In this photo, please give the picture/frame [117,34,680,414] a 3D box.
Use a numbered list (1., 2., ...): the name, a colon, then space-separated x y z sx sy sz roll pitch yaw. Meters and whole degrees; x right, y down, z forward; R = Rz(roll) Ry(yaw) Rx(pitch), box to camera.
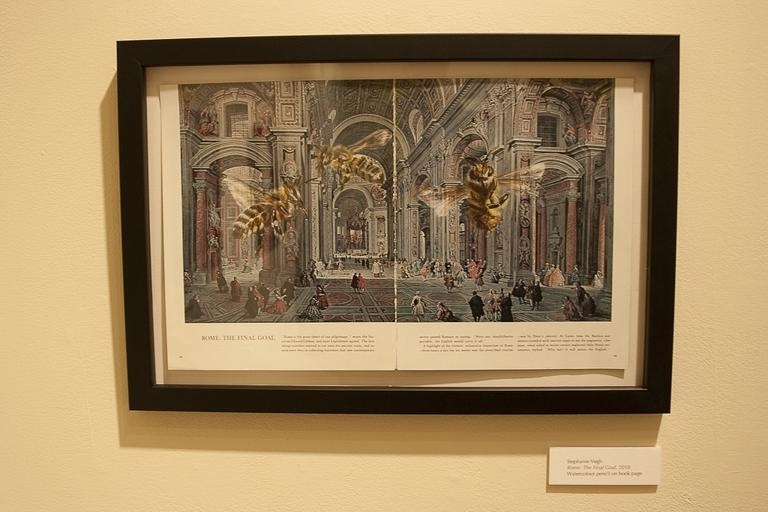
1. picture/frame: 0.087 -0.154 2.837 1.909 1.011 0.042 0 6 1
